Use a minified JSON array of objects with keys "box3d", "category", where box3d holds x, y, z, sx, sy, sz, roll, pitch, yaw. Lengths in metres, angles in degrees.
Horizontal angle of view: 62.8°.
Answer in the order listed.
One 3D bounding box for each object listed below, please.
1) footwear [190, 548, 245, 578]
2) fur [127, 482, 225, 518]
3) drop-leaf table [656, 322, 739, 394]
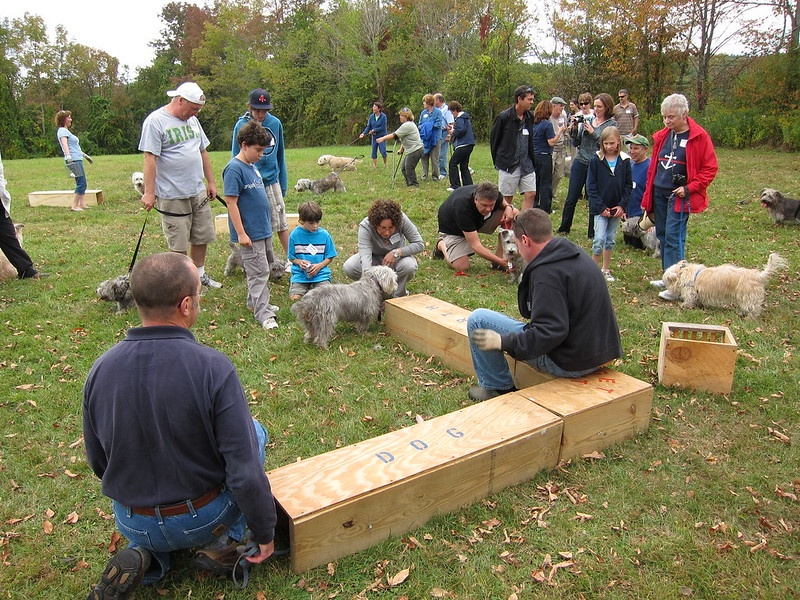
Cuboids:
[{"box3d":[-1.253,1.858,4.656,0.423,0.197,0.150,6,-2,-8],"category":"footwear"},{"box3d":[-1.476,1.358,4.335,0.406,0.181,0.514,-3,10,-13],"category":"fur"},{"box3d":[2.962,0.431,6.499,0.720,0.557,0.722,5,16,26],"category":"drop-leaf table"}]
